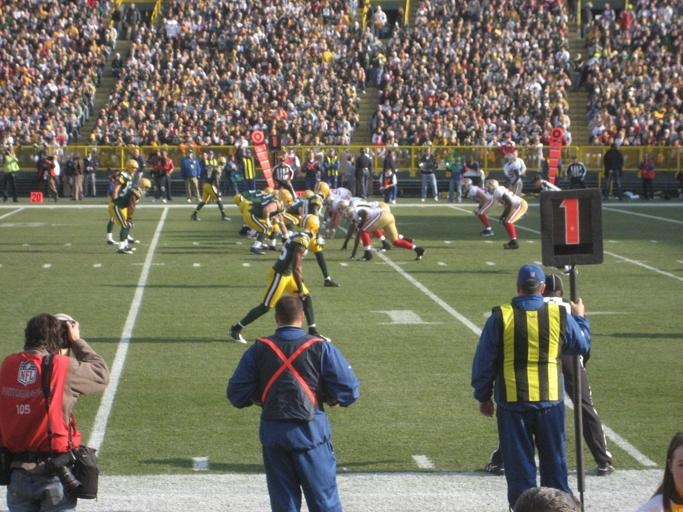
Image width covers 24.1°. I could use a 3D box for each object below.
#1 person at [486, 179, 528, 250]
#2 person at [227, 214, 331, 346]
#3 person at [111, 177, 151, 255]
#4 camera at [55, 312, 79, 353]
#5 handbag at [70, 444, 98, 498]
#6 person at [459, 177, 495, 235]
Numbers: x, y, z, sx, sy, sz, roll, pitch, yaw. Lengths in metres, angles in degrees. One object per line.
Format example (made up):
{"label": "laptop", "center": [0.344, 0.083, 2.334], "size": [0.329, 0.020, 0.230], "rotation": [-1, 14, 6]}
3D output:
{"label": "person", "center": [4.139, -1.150, 39.274], "size": [0.941, 1.856, 0.802], "rotation": [1, 16, -12]}
{"label": "person", "center": [-1.301, 0.408, 30.091], "size": [1.450, 2.334, 0.943], "rotation": [-3, 5, -38]}
{"label": "person", "center": [-4.818, -1.087, 38.428], "size": [0.827, 2.243, 1.335], "rotation": [-3, 7, -10]}
{"label": "camera", "center": [-4.148, 1.178, 23.995], "size": [0.411, 0.517, 0.313], "rotation": [2, 10, -3]}
{"label": "handbag", "center": [-3.832, 3.228, 23.693], "size": [0.363, 0.815, 0.288], "rotation": [-1, 4, -10]}
{"label": "person", "center": [3.511, -1.240, 40.809], "size": [0.911, 1.477, 0.595], "rotation": [-6, 1, 8]}
